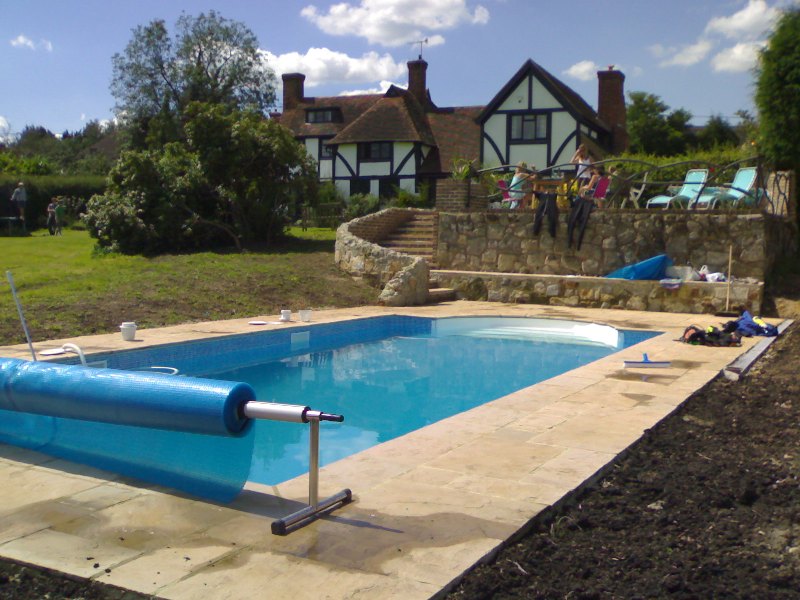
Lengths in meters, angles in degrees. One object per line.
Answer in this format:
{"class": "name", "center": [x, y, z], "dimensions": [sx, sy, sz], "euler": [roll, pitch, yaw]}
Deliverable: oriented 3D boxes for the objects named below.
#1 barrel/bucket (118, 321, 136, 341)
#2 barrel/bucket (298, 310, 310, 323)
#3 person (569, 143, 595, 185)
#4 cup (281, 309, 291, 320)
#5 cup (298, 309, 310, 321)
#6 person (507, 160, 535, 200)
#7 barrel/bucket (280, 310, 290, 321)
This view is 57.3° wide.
{"class": "barrel/bucket", "center": [-4.021, 0.454, 10.896], "dimensions": [0.251, 0.251, 0.267], "euler": [2, 12, 0]}
{"class": "barrel/bucket", "center": [-1.704, 0.287, 13.109], "dimensions": [0.201, 0.169, 0.184], "euler": [-1, -2, 0]}
{"class": "person", "center": [4.473, -3.128, 17.947], "dimensions": [0.488, 1.307, 0.345], "euler": [-1, -14, 17]}
{"class": "cup", "center": [-2.018, 0.250, 13.184], "dimensions": [0.180, 0.198, 0.182], "euler": [0, 6, 0]}
{"class": "cup", "center": [-1.702, 0.271, 13.092], "dimensions": [0.192, 0.168, 0.166], "euler": [0, 8, -3]}
{"class": "person", "center": [3.075, -2.996, 18.602], "dimensions": [0.655, 1.150, 0.482], "euler": [2, -19, -7]}
{"class": "barrel/bucket", "center": [-2.035, 0.267, 13.172], "dimensions": [0.185, 0.213, 0.190], "euler": [0, 4, 0]}
